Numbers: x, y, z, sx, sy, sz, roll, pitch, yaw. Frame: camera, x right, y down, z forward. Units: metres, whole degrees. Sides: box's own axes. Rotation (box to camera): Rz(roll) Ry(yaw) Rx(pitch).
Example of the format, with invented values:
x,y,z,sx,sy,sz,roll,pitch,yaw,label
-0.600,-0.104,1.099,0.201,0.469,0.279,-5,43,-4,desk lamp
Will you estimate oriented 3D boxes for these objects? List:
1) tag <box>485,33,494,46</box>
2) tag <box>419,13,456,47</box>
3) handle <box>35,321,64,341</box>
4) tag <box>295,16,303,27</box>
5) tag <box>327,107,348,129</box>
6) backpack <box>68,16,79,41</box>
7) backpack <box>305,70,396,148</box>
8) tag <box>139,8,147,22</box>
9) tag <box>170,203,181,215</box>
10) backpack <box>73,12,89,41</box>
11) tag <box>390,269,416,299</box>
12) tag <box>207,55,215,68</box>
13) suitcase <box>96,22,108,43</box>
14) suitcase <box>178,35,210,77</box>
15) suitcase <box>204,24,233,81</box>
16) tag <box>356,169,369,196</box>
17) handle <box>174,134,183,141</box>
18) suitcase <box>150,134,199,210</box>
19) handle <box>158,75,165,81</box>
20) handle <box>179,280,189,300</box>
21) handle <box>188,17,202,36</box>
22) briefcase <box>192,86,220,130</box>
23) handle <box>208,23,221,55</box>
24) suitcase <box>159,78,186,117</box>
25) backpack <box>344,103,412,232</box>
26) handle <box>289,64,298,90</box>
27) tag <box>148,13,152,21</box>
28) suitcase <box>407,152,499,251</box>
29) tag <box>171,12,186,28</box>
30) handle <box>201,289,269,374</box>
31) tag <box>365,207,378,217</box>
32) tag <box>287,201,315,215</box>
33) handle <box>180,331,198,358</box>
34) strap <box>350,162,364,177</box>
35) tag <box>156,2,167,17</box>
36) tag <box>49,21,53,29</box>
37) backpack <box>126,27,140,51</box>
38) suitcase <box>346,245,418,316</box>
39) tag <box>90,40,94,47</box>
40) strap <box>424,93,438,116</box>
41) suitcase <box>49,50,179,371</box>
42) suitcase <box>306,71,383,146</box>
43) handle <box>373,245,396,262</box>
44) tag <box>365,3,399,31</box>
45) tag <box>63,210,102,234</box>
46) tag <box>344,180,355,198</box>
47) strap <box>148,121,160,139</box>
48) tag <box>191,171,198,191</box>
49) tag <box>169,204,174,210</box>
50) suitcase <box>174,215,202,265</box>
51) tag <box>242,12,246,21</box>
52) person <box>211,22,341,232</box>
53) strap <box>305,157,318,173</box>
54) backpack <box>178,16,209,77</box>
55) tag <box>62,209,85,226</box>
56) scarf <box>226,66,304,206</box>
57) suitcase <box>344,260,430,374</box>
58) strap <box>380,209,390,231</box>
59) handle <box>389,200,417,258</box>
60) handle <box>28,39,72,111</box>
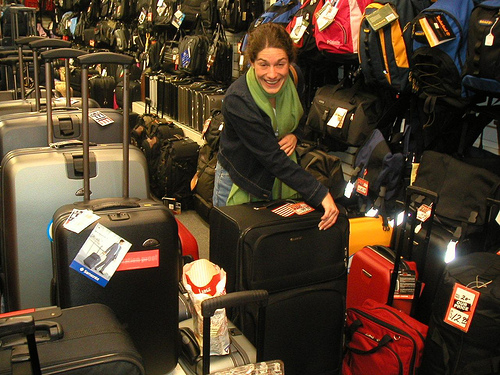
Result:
x,y,z,sx,sy,sz,roll,pitch,yaw,label
1.330,-0.817,2.393,0.008,0.084,0.044,-15,31,-32,tag
1.119,-0.934,2.569,0.213,0.187,0.083,7,14,21,tag
-0.626,0.434,1.350,0.066,0.074,0.027,-5,52,14,handle
0.393,-1.312,3.432,0.066,0.077,0.017,2,-2,-11,tag
0.671,-0.527,3.286,0.015,0.164,0.114,19,4,-45,tag
-3.646,-3.268,8.858,0.297,0.575,0.133,0,-4,42,backpack
0.771,-0.665,3.466,0.348,0.659,0.654,8,11,-31,backpack
-1.529,-2.450,6.153,0.037,0.161,0.143,8,4,-33,tag
-0.767,0.217,4.407,0.070,0.121,0.106,1,-2,-5,tag
-3.397,-3.192,8.642,0.354,0.585,0.149,5,-3,45,backpack
0.927,0.581,2.615,0.123,0.121,0.216,15,53,4,tag
-0.451,-1.429,4.917,0.078,0.123,0.037,8,5,30,tag
-2.578,-2.706,7.544,0.240,0.379,0.334,-5,17,-23,suitcase
-0.696,-1.574,5.179,0.431,0.469,0.227,17,13,42,suitcase
-0.356,-1.530,4.934,0.186,0.499,0.391,-2,54,-21,suitcase
0.830,-0.026,3.175,0.033,0.165,0.087,6,2,-38,tag
-0.796,-0.558,4.830,0.069,0.018,0.078,3,49,-30,handle
-0.781,-0.152,4.519,0.412,0.929,0.586,1,11,-33,suitcase
-1.172,-1.435,5.690,0.094,0.113,0.027,0,-18,10,handle
-0.360,0.550,2.323,0.022,0.080,0.103,-13,30,-9,handle
-0.674,-1.988,5.305,0.061,0.261,0.173,14,17,20,handle
-0.481,-0.876,4.732,0.404,0.544,0.292,-2,29,-14,briefcase
-0.409,-1.688,4.925,0.140,0.311,0.297,-1,14,-7,handle
-0.948,-1.112,5.609,0.261,0.470,0.294,14,11,31,suitcase
0.919,-0.092,3.251,0.378,0.691,0.369,23,3,18,backpack
0.250,-0.659,2.557,0.033,0.114,0.077,-2,19,-1,handle
-1.349,-2.286,5.822,0.023,0.106,0.119,-7,16,-31,tag
1.295,0.112,2.728,0.227,0.441,0.430,5,25,-45,suitcase
-0.890,-2.071,5.335,0.126,0.188,0.020,25,30,-3,tag
-0.050,0.554,1.625,0.278,0.354,0.100,-7,15,-32,handle
0.887,0.184,3.195,0.015,0.061,0.057,15,17,-37,tag
0.287,0.116,2.413,0.069,0.007,0.082,-14,36,-28,tag
-0.290,0.704,1.996,0.034,0.044,0.164,-29,51,-2,handle
0.805,-0.133,3.233,0.093,0.035,0.068,-46,9,-18,strap
-1.122,-2.261,5.512,0.027,0.168,0.216,-9,17,-38,tag
-4.746,-3.841,10.296,0.062,0.151,0.270,-8,17,-34,tag
-1.880,-2.374,6.983,0.427,0.309,0.169,15,19,42,backpack
0.816,0.573,2.633,0.176,0.599,0.346,3,11,-17,suitcase
-2.933,-2.662,7.995,0.075,0.159,0.124,-6,13,-39,tag
1.188,-0.543,2.806,0.061,0.113,0.121,15,64,41,strap
-0.593,0.127,1.850,0.530,1.355,0.380,-5,14,-25,suitcase
0.754,-0.637,3.451,0.336,0.617,0.594,9,13,-36,suitcase
0.885,0.419,2.762,0.084,0.032,0.062,37,9,-22,handle
0.854,-1.102,2.795,0.186,0.164,0.042,57,6,22,tag
-0.672,0.141,1.723,0.102,0.018,0.148,9,30,19,tag
0.747,0.020,3.266,0.022,0.103,0.052,-4,21,-44,tag
-1.128,-0.666,5.013,0.114,0.188,0.177,2,4,13,strap
-0.564,-0.057,4.388,0.067,0.195,0.142,-1,13,-8,tag
-0.785,0.192,4.299,0.040,0.044,0.011,0,20,-27,tag
-0.432,0.376,3.072,0.136,0.254,0.402,-22,13,-12,suitcase
-0.061,-1.730,4.389,0.049,0.104,0.051,1,1,-1,tag
0.079,-0.099,2.558,0.474,1.588,0.860,-9,40,-13,person
0.472,-0.169,3.285,0.069,0.070,0.124,21,45,17,strap
-0.667,-1.674,5.137,0.235,0.740,0.465,-1,20,-33,backpack
-0.715,0.114,1.744,0.036,0.004,0.101,20,51,7,tag
0.073,-0.265,2.377,0.345,0.790,0.482,-4,23,-11,scarf
0.795,0.753,2.468,0.339,0.730,0.404,-12,22,-39,suitcase
0.969,0.238,3.073,0.071,0.136,0.031,-4,1,-34,strap
0.970,0.303,2.708,0.202,0.603,0.050,-4,38,12,handle
-1.282,-0.703,2.882,0.065,0.433,0.236,28,37,15,handle
